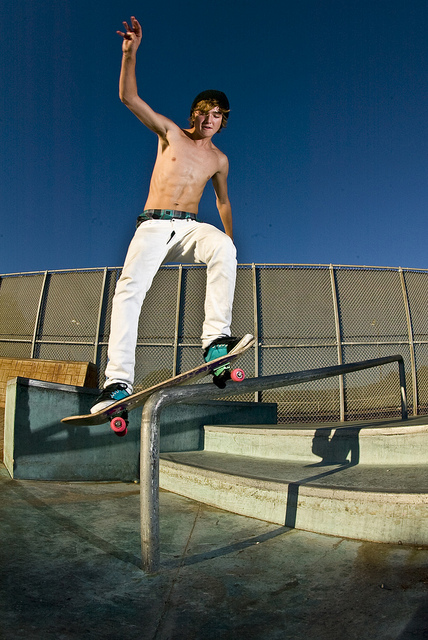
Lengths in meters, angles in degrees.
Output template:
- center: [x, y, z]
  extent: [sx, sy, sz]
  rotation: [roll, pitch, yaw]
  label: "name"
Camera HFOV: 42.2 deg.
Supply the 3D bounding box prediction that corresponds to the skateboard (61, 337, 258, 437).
- center: [-0.403, 0.562, 4.634]
  extent: [1.612, 0.275, 0.415]
  rotation: [-25, -25, -10]
  label: "skateboard"
